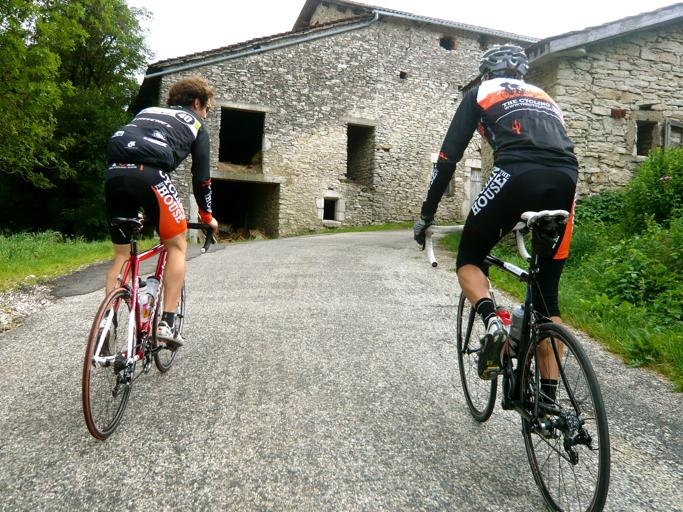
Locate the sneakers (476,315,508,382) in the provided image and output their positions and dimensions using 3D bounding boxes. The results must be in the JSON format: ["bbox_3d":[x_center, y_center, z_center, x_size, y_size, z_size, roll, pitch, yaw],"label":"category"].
[{"bbox_3d":[1.067,0.677,4.076,0.163,0.469,0.199,5,28,3],"label":"sneakers"}]

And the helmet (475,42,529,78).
[{"bbox_3d":[1.346,-1.612,4.569,0.326,0.313,0.407,4,13,-2],"label":"helmet"}]

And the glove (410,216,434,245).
[{"bbox_3d":[0.675,-0.218,4.792,0.161,0.222,0.226,9,-10,5],"label":"glove"}]

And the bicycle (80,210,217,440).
[{"bbox_3d":[-1.716,0.497,4.685,0.494,1.638,1.455,2,9,12],"label":"bicycle"}]

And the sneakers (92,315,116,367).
[{"bbox_3d":[-1.805,0.643,4.307,0.066,0.289,0.201,5,-13,-16],"label":"sneakers"}]

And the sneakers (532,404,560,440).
[{"bbox_3d":[1.390,1.133,3.811,0.171,0.236,0.234,11,-14,10],"label":"sneakers"}]

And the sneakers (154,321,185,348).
[{"bbox_3d":[-1.519,0.697,4.929,0.118,0.143,0.328,-3,-7,5],"label":"sneakers"}]

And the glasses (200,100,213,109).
[{"bbox_3d":[-1.289,-1.444,5.288,0.081,0.032,0.113,-19,6,4],"label":"glasses"}]
